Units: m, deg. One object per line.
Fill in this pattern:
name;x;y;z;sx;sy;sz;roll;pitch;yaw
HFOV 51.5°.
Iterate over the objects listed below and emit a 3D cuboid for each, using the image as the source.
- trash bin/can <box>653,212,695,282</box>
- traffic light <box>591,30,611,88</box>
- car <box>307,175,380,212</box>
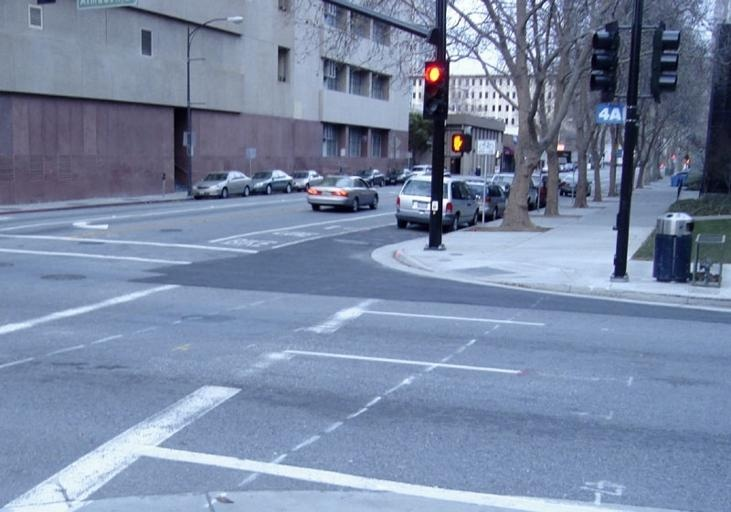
trash bin/can;6.870;-0.190;16.630;0.763;1.520;0.470;4;10;23
traffic light;4.949;-4.031;15.603;0.424;1.225;0.773;3;9;16
car;-0.963;-2.844;34.975;1.772;1.587;3.383;7;12;33
